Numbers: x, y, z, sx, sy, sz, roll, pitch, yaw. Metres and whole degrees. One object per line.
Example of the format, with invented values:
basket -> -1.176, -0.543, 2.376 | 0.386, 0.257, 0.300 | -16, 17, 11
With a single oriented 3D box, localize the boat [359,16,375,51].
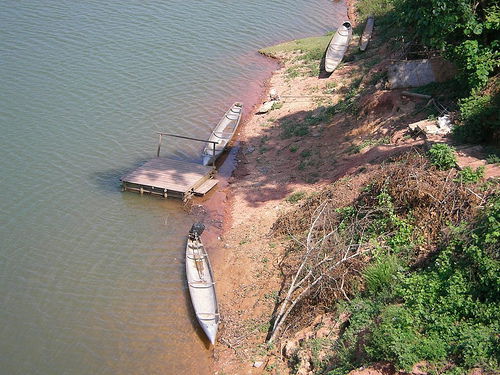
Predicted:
boat -> 9.933, -12.852, 56.190 | 0.869, 0.445, 6.689 | 4, 39, 14

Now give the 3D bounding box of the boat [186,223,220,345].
boat -> -2.753, 5.550, 38.005 | 1.827, 4.822, 2.618 | 1, 24, -28

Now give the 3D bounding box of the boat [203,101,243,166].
boat -> -1.812, -4.203, 50.085 | 1.324, 1.099, 7.826 | 13, 45, 11

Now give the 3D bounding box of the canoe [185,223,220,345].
canoe -> -2.848, 5.292, 38.244 | 1.243, 1.098, 7.640 | -3, 51, -12

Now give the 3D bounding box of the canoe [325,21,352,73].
canoe -> 7.416, -11.886, 56.086 | 1.502, 1.054, 7.428 | 1, 48, 26
